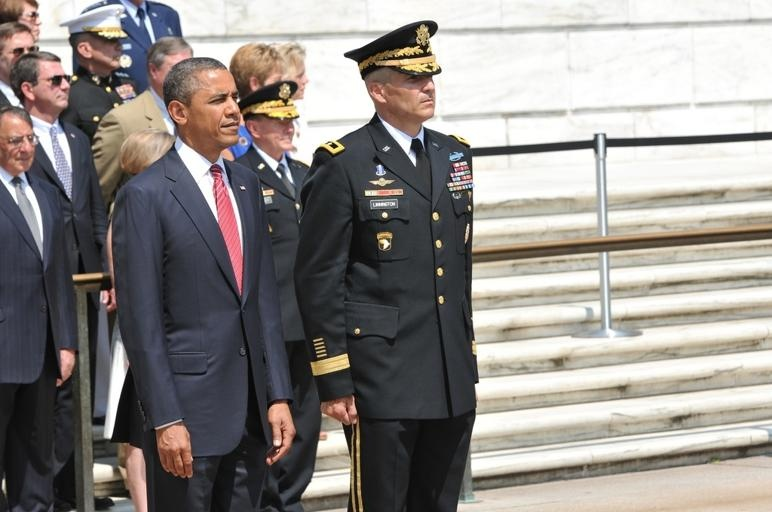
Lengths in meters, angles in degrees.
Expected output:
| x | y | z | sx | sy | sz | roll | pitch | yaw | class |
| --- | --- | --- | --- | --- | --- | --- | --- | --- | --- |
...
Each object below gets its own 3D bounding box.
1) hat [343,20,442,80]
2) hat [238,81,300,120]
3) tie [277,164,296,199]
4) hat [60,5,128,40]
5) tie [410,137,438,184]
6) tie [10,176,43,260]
| x | y | z | sx | sy | sz | roll | pitch | yaw | class |
| --- | --- | --- | --- | --- | --- | --- | --- | --- | --- |
| 0.077 | -1.279 | 10.563 | 0.605 | 0.288 | 0.666 | -11 | 10 | -33 | hat |
| -0.837 | -1.099 | 11.805 | 0.500 | 0.252 | 0.435 | 3 | 12 | 23 | hat |
| -0.681 | -0.527 | 11.644 | 0.076 | 0.295 | 0.044 | -26 | -17 | -28 | tie |
| -2.179 | -1.713 | 12.461 | 0.350 | 0.127 | 0.289 | -2 | 2 | 25 | hat |
| 0.234 | -0.586 | 10.478 | 0.107 | 0.307 | 0.085 | -12 | -13 | -18 | tie |
| -2.335 | -0.271 | 11.035 | 0.177 | 0.506 | 0.058 | -3 | -4 | -11 | tie |
